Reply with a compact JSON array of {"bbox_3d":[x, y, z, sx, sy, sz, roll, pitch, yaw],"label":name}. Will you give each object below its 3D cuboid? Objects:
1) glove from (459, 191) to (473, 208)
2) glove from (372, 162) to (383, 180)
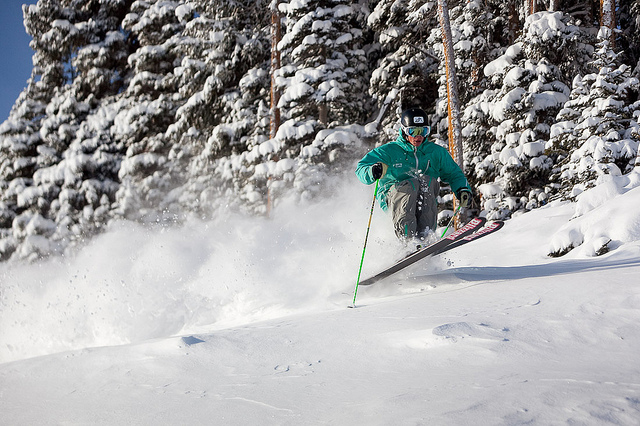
[{"bbox_3d":[3.495,-0.342,18.809,0.275,0.395,0.378,0,7,16],"label":"glove"},{"bbox_3d":[1.356,-0.977,18.206,0.280,0.332,0.170,-21,33,-28],"label":"glove"}]
